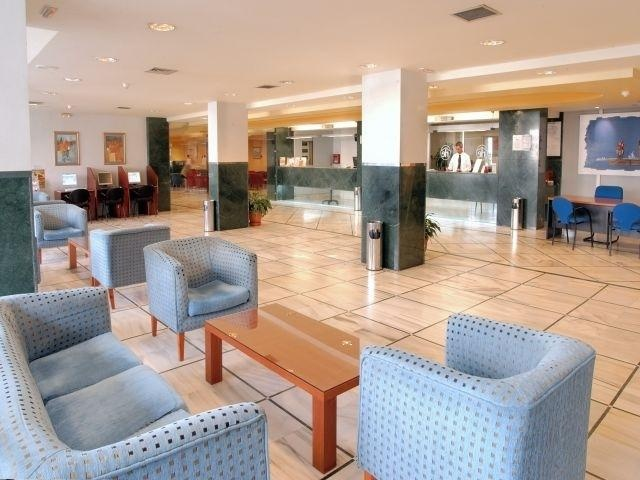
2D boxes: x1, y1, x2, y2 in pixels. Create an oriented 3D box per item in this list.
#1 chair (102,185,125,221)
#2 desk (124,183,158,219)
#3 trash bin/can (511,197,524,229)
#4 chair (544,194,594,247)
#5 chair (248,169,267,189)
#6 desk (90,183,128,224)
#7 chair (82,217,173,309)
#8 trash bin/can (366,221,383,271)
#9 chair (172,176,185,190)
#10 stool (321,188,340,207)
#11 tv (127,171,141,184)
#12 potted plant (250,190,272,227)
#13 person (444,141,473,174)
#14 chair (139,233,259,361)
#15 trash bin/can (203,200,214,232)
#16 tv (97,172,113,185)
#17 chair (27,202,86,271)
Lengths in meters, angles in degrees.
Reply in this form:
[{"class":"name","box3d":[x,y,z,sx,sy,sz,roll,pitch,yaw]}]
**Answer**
[{"class":"chair","box3d":[-6.607,-1.247,14.058,0.666,1.038,0.770,-4,24,-32]},{"class":"desk","box3d":[-5.956,-1.357,14.942,0.915,1.447,0.933,-8,21,-34]},{"class":"trash bin/can","box3d":[5.169,-0.677,11.574,0.315,0.810,0.332,5,12,26]},{"class":"chair","box3d":[5.430,-0.433,9.608,0.677,1.009,0.670,-7,7,-41]},{"class":"chair","box3d":[-3.374,-3.185,24.081,0.900,1.007,2.100,-3,12,-11]},{"class":"desk","box3d":[-6.693,-1.110,14.268,1.135,1.520,0.990,-8,18,-42]},{"class":"chair","box3d":[-2.748,0.184,6.255,0.937,1.141,0.947,28,28,27]},{"class":"trash bin/can","box3d":[0.948,0.135,7.912,0.305,0.838,0.277,3,-10,-22]},{"class":"chair","box3d":[-9.179,-3.696,28.629,0.821,1.029,0.767,2,6,28]},{"class":"stool","box3d":[0.403,-1.635,17.346,0.616,0.753,0.658,1,3,6]},{"class":"tv","box3d":[-6.215,-2.073,14.875,0.420,0.419,0.463,-6,12,-26]},{"class":"potted plant","box3d":[-1.766,-0.855,12.562,0.550,0.863,0.657,3,11,17]},{"class":"person","box3d":[4.277,-2.505,13.497,0.664,0.870,1.138,-1,11,-4]},{"class":"chair","box3d":[-1.320,0.582,4.870,0.858,1.074,1.048,8,11,37]},{"class":"trash bin/can","box3d":[-2.884,-0.624,11.574,0.293,0.792,0.592,-3,11,-14]},{"class":"tv","box3d":[-6.949,-1.966,14.278,0.144,0.438,0.396,1,4,45]},{"class":"chair","box3d":[-4.880,-0.153,8.299,0.868,0.953,0.749,-8,15,-42]}]
